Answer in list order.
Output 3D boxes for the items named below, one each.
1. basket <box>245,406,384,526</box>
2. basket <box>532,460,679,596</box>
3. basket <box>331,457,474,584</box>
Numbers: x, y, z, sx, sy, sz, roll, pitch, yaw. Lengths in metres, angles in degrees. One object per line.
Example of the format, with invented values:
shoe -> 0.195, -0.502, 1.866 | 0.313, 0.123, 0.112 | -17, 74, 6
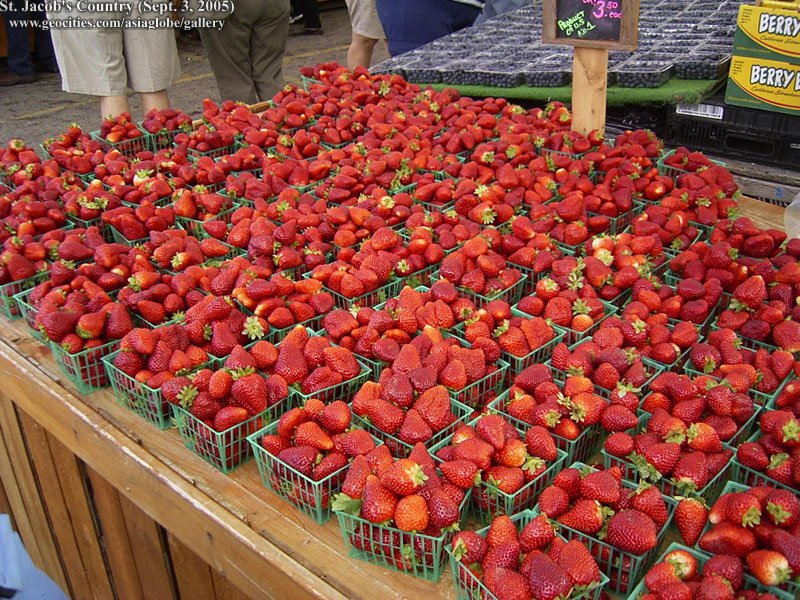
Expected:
basket -> -0.236, 0.471, 1.536 | 0.333, 0.144, 0.275 | 27, 41, 30
basket -> 0.460, 0.582, 1.386 | 0.343, 0.122, 0.256 | 26, 47, 28
basket -> 0.033, 0.524, 1.379 | 0.216, 0.115, 0.278 | 5, 10, 20
